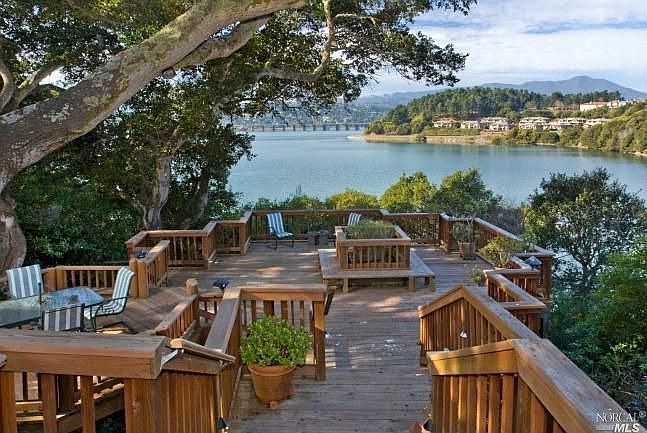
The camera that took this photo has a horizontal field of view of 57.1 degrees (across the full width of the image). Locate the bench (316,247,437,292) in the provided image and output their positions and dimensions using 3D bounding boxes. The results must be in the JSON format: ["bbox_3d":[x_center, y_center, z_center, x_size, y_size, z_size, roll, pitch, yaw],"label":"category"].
[{"bbox_3d":[1.362,1.421,15.865,2.938,0.831,1.954,0,4,-1],"label":"bench"}]

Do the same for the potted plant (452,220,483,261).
[{"bbox_3d":[4.254,0.650,17.284,0.941,1.650,1.076,0,2,10],"label":"potted plant"}]

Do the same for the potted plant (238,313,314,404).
[{"bbox_3d":[-0.854,2.306,10.657,1.574,1.749,1.292,1,4,-5],"label":"potted plant"}]
